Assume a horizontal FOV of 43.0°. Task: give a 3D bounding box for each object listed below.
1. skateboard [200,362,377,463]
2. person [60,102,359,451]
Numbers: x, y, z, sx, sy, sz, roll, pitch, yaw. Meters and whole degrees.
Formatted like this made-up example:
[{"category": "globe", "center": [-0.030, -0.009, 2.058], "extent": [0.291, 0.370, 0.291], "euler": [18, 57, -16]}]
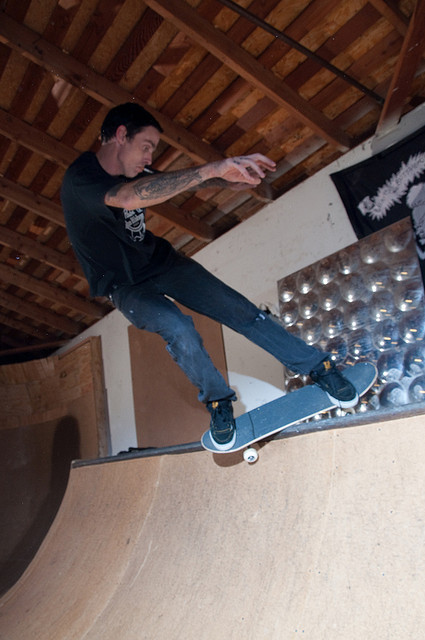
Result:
[{"category": "skateboard", "center": [0.350, 0.380, 2.158], "extent": [0.807, 0.177, 0.305], "euler": [-19, -5, -27]}, {"category": "person", "center": [0.002, -0.216, 2.308], "extent": [1.186, 1.425, 0.855], "euler": [-3, 13, 18]}]
